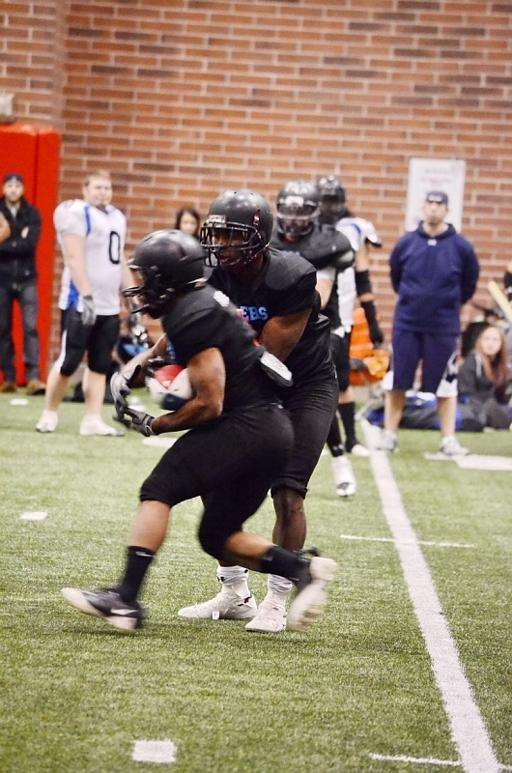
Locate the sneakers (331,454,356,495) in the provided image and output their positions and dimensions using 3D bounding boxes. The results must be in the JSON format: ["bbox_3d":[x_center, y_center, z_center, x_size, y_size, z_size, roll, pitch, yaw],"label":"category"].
[{"bbox_3d":[0.444,0.452,4.649,0.085,0.106,0.252,-9,35,2],"label":"sneakers"}]

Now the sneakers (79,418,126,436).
[{"bbox_3d":[-1.020,0.296,6.102,0.341,0.123,0.103,0,5,-6],"label":"sneakers"}]

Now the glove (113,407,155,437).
[{"bbox_3d":[-0.314,0.099,2.459,0.052,0.065,0.182,22,-3,-36],"label":"glove"}]

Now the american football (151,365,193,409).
[{"bbox_3d":[-0.196,0.004,2.289,0.047,0.101,0.108,30,26,-45],"label":"american football"}]

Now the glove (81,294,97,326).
[{"bbox_3d":[-1.048,-0.458,5.622,0.113,0.170,0.049,5,-10,-40],"label":"glove"}]

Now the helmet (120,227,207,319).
[{"bbox_3d":[-0.231,-0.276,2.312,0.244,0.216,0.179,-4,9,-3],"label":"helmet"}]

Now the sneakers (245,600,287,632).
[{"bbox_3d":[0.033,0.664,2.656,0.113,0.086,0.152,4,4,4],"label":"sneakers"}]

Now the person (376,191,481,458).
[{"bbox_3d":[1.164,-0.387,6.051,0.620,1.716,0.425,5,5,10],"label":"person"}]

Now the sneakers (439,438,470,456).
[{"bbox_3d":[1.326,0.413,6.040,0.190,0.141,0.223,4,4,11],"label":"sneakers"}]

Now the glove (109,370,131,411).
[{"bbox_3d":[-0.374,0.010,2.492,0.048,0.127,0.055,-3,-33,-4],"label":"glove"}]

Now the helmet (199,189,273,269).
[{"bbox_3d":[-0.056,-0.432,2.520,0.194,0.225,0.162,3,4,-4],"label":"helmet"}]

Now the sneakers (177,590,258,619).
[{"bbox_3d":[-0.102,0.669,2.767,0.274,0.106,0.085,3,-2,-7],"label":"sneakers"}]

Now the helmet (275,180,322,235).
[{"bbox_3d":[0.174,-0.724,3.713,0.197,0.205,0.251,6,22,9],"label":"helmet"}]
